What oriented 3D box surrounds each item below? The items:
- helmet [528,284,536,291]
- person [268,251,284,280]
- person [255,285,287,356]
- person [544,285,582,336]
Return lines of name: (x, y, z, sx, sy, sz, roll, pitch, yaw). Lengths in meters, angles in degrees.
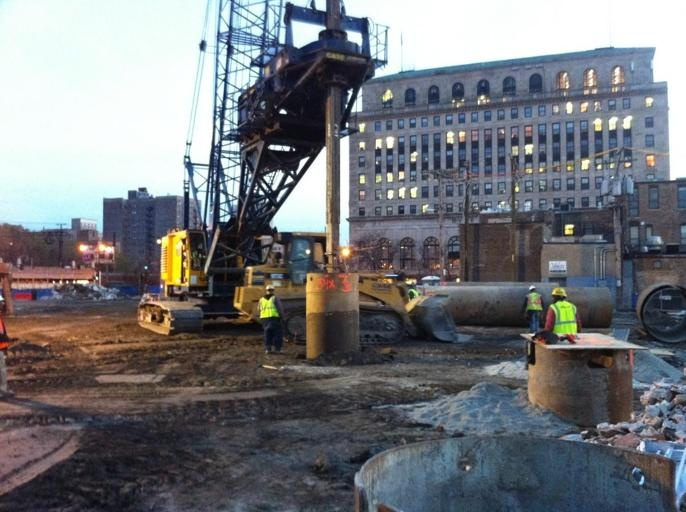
helmet: (6.923, 1.136, 27.212, 0.269, 0.155, 0.412, -7, -11, 15)
person: (-2.047, 0.304, 23.095, 0.470, 0.846, 0.659, 0, -2, -4)
person: (-1.990, 1.734, 20.330, 0.616, 1.793, 0.615, 1, -2, -27)
person: (4.635, 1.425, 15.631, 0.682, 1.638, 0.499, -8, 18, -4)
